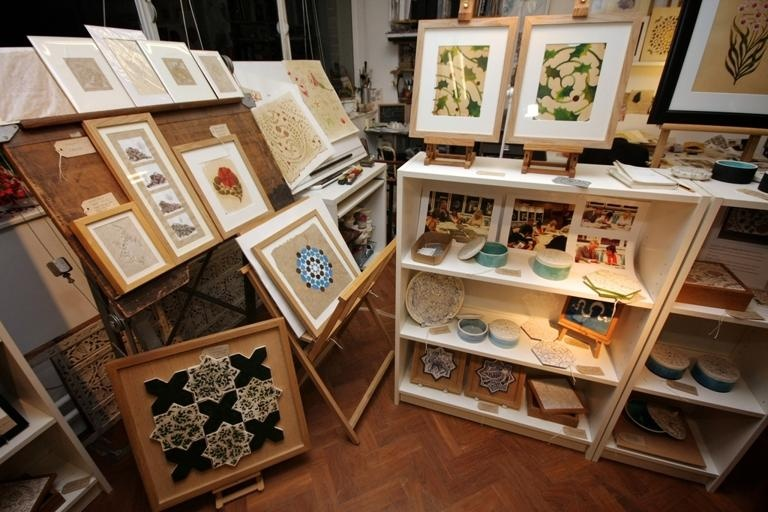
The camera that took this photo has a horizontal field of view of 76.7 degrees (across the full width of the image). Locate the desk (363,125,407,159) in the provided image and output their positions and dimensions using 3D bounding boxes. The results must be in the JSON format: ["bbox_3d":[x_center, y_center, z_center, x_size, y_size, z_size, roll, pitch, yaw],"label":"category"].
[{"bbox_3d":[0.059,-1.309,5.939,0.502,0.422,0.487,9,28,18],"label":"desk"}]

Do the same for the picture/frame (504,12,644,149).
[{"bbox_3d":[0.950,-0.878,2.479,0.550,0.604,0.311,9,34,22],"label":"picture/frame"}]

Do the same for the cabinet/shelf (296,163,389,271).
[{"bbox_3d":[-0.313,-0.296,3.453,0.379,0.619,0.660,10,49,12],"label":"cabinet/shelf"}]

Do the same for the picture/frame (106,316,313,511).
[{"bbox_3d":[-0.958,0.896,2.687,0.920,0.927,0.263,-20,14,-24],"label":"picture/frame"}]

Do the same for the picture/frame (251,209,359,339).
[{"bbox_3d":[-0.483,0.106,2.835,0.051,0.696,0.714,-20,14,38],"label":"picture/frame"}]

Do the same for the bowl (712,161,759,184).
[{"bbox_3d":[1.813,-0.429,2.499,0.157,0.064,0.152,-4,21,2],"label":"bowl"}]

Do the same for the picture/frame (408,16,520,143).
[{"bbox_3d":[0.420,-0.929,2.597,0.502,0.578,0.222,4,32,13],"label":"picture/frame"}]

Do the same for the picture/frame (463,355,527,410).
[{"bbox_3d":[0.708,0.798,3.053,0.342,0.287,0.039,12,-7,9],"label":"picture/frame"}]

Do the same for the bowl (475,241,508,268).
[{"bbox_3d":[0.633,-0.010,2.847,0.186,0.074,0.188,-3,30,2],"label":"bowl"}]

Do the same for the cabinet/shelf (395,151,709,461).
[{"bbox_3d":[1.002,0.307,2.828,1.546,1.809,0.546,13,36,14],"label":"cabinet/shelf"}]
